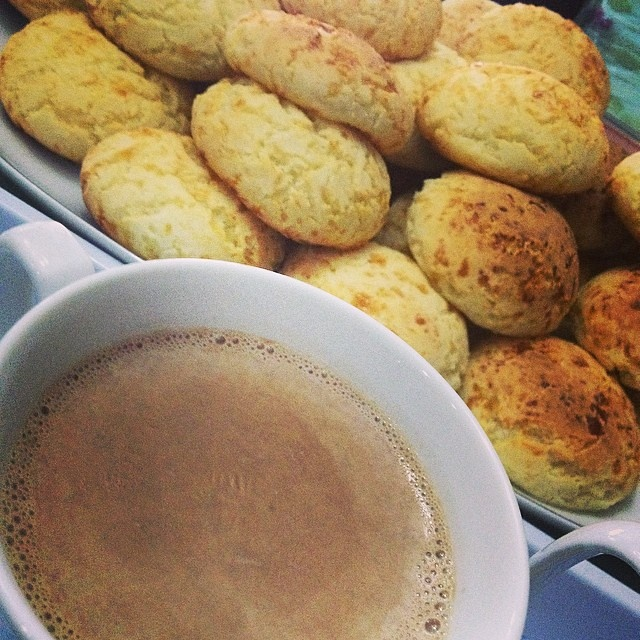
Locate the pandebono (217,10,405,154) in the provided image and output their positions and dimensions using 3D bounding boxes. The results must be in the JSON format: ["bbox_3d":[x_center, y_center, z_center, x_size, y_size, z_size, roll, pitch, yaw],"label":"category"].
[{"bbox_3d":[0.004,-0.252,0.824,0.220,0.173,0.081,25,107,-1],"label":"pandebono"}]

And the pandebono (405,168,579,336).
[{"bbox_3d":[0.155,-0.045,0.841,0.161,0.048,0.144,52,46,-9],"label":"pandebono"}]
